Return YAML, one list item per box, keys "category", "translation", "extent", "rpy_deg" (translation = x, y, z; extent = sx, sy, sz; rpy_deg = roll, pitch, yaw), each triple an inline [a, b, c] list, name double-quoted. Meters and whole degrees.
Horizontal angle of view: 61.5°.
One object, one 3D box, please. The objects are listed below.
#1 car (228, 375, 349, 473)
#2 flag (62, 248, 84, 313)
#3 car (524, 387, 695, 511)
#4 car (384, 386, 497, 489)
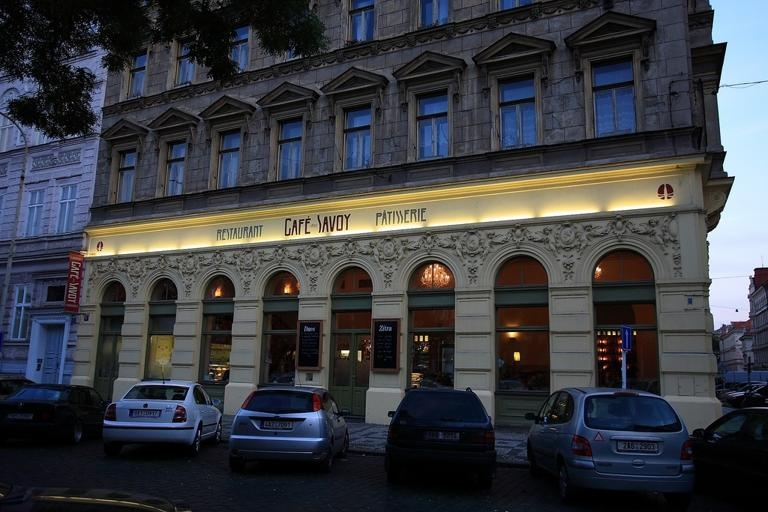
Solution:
- category: "car"
  translation: [-2.562, 4.389, 16.531]
  extent: [1.853, 1.170, 3.075]
  rpy_deg: [0, -8, 3]
- category: "flag"
  translation: [-14.516, 1.204, 30.166]
  extent: [0.220, 2.925, 0.721]
  rpy_deg: [-20, -27, 32]
- category: "car"
  translation: [5.301, 4.543, 15.161]
  extent: [3.536, 2.674, 2.063]
  rpy_deg: [3, 3, 24]
- category: "car"
  translation: [1.420, 4.388, 15.828]
  extent: [1.837, 1.431, 3.064]
  rpy_deg: [0, -8, 5]
